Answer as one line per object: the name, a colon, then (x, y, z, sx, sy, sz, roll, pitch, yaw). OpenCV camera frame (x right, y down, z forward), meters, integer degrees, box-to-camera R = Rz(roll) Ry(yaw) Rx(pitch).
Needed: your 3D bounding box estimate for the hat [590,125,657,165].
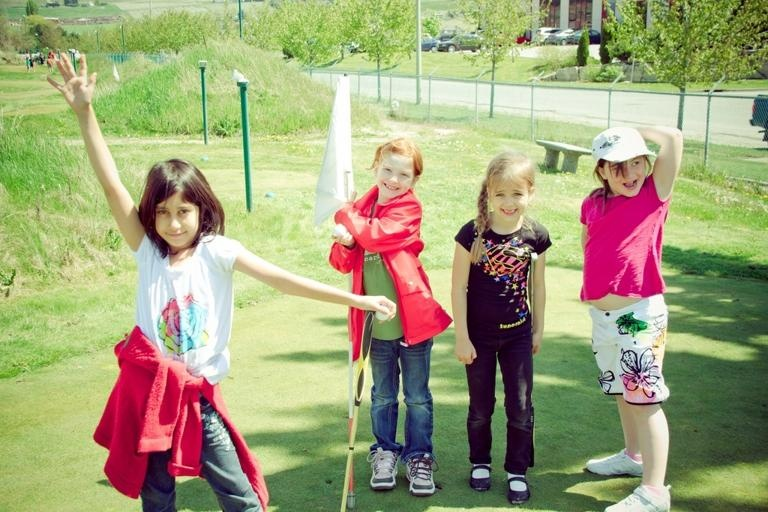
hat: (1.772, -0.841, 5.662, 0.291, 0.209, 0.394, -8, 2, 0)

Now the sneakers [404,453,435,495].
sneakers: (0.286, 1.698, 5.752, 0.226, 0.273, 0.265, -1, 14, 2)

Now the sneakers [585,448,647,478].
sneakers: (1.845, 1.678, 5.939, 0.474, 0.207, 0.178, 2, 2, 4)

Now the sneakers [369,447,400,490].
sneakers: (-0.011, 1.685, 5.885, 0.218, 0.247, 0.551, -2, 9, 4)

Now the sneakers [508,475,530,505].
sneakers: (1.028, 1.784, 5.634, 0.178, 0.177, 0.182, 1, 14, 10)
